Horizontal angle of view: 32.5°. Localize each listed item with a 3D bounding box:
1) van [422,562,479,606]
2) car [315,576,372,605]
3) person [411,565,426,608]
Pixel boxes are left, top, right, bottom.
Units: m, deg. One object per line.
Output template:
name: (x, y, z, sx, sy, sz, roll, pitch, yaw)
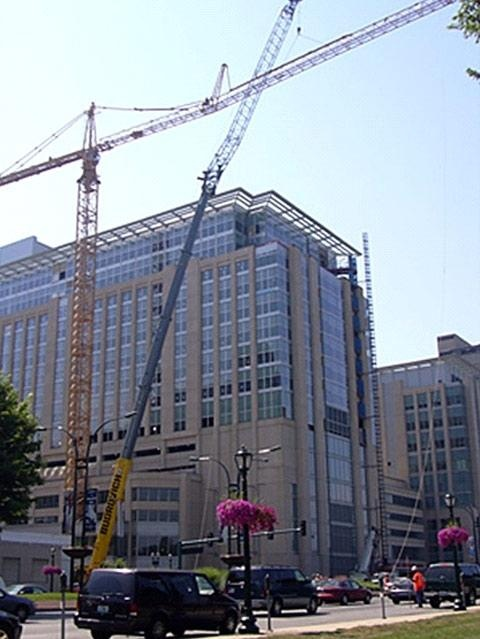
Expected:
van: (9.377, 11.644, 36.609, 1.667, 1.590, 3.233, -10, -13, 30)
car: (5.338, 14.232, 43.346, 1.717, 1.345, 3.787, -16, -23, 36)
person: (7.899, 11.907, 36.540, 0.490, 1.527, 3.342, -5, -19, 11)
